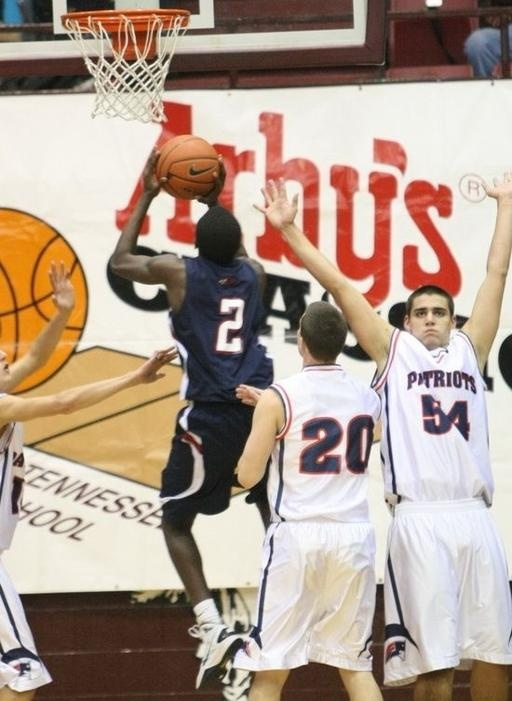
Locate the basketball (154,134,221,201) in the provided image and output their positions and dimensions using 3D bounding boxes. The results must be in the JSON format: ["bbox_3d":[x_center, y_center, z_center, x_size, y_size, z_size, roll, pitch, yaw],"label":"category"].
[{"bbox_3d":[-0.304,-0.760,5.410,0.284,0.301,0.284,3,21,7],"label":"basketball"}]
